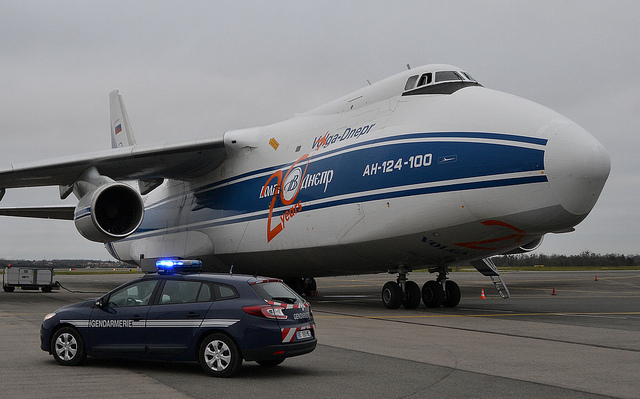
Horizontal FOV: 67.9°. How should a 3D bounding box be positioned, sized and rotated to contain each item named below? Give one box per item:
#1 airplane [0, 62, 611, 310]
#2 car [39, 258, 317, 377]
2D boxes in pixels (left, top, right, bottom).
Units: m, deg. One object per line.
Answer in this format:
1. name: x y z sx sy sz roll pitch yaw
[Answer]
1. airplane: 0.112 -0.066 17.877 18.759 8.861 4.676 -3 10 21
2. car: -2.661 2.236 9.361 5.110 1.399 2.066 0 -5 19
